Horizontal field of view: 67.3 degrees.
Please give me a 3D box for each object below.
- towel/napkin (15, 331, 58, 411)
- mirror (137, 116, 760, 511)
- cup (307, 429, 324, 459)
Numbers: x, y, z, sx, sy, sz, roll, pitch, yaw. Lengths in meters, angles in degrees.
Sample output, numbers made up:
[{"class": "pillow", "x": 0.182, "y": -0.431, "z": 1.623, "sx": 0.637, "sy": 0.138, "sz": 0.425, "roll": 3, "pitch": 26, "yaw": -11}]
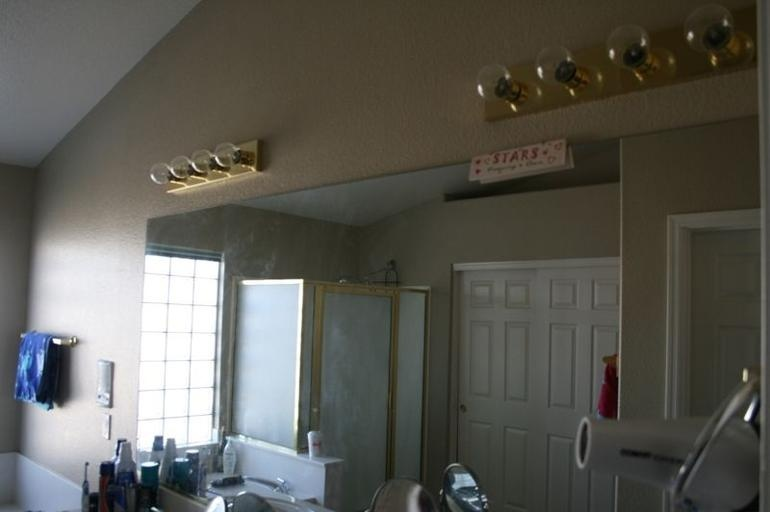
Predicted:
[{"class": "towel/napkin", "x": -1.863, "y": 0.614, "z": 3.086, "sx": 0.107, "sy": 0.464, "sz": 0.464, "roll": 0, "pitch": 1, "yaw": -41}, {"class": "mirror", "x": 0.143, "y": 0.187, "z": 1.627, "sx": 1.585, "sy": 0.878, "sz": 0.054, "roll": -5, "pitch": -10, "yaw": 31}, {"class": "cup", "x": -0.226, "y": 0.596, "z": 1.834, "sx": 0.072, "sy": 0.084, "sz": 0.076, "roll": 0, "pitch": -8, "yaw": 0}]
